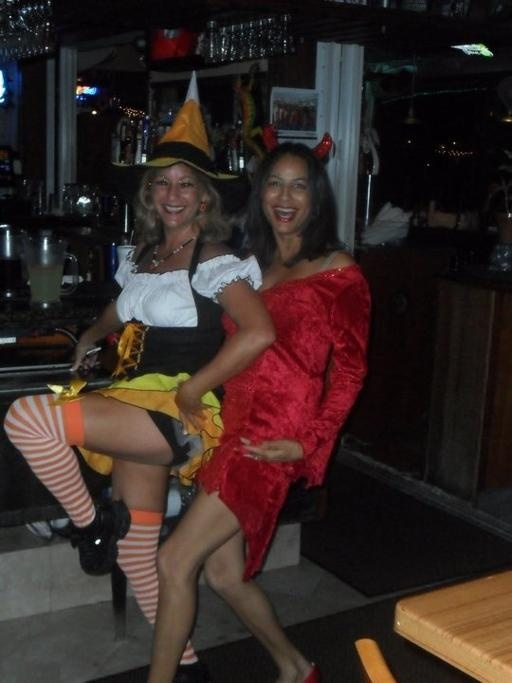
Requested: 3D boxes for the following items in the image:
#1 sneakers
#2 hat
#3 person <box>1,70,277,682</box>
[{"bbox_3d":[-0.394,0.479,1.506,0.121,0.234,0.111,30,41,13],"label":"sneakers"},{"bbox_3d":[-0.187,-0.567,1.706,0.347,0.347,0.366,10,4,-1],"label":"hat"},{"bbox_3d":[-0.316,0.088,1.596,0.641,1.521,0.675,-5,13,-8],"label":"person"}]
